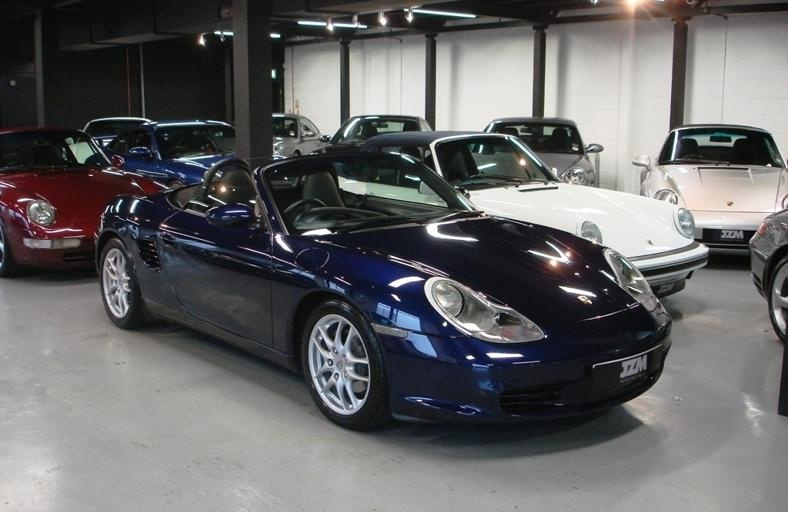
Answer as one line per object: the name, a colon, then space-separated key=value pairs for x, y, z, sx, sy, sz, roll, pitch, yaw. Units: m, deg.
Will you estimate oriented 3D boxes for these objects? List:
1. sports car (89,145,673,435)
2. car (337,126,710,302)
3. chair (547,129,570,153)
sports car: x=-0.450 y=0.020 z=3.803 sx=4.048 sy=1.070 sz=1.861 roll=10 pitch=13 yaw=36
car: x=1.147 y=-0.721 z=5.619 sx=3.783 sy=1.086 sz=1.613 roll=12 pitch=14 yaw=29
chair: x=3.128 y=-2.197 z=9.749 sx=0.310 sy=0.488 sz=0.167 roll=-2 pitch=-12 yaw=2
